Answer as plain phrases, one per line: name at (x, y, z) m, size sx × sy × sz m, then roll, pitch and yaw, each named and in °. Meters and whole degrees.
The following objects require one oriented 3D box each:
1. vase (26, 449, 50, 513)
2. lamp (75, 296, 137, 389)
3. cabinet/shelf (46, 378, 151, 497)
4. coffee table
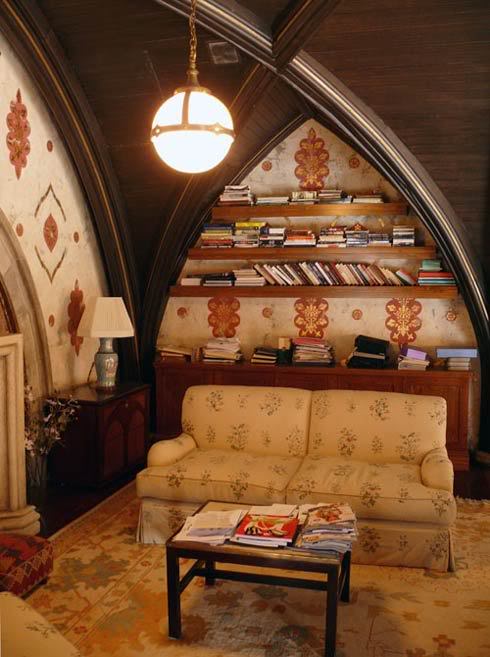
vase at (-1.396, 1.005, 3.692) m, size 0.153 × 0.367 × 0.410 m, roll 1°, pitch -19°, yaw -18°
lamp at (-1.078, 0.101, 4.040) m, size 0.380 × 0.669 × 0.589 m, roll -1°, pitch 2°, yaw -28°
cabinet/shelf at (-0.934, 0.731, 3.929) m, size 0.583 × 0.709 × 0.985 m, roll 2°, pitch 7°, yaw 14°
coffee table at (0.080, 0.939, 2.133) m, size 0.692 × 0.417 × 0.493 m, roll 0°, pitch 2°, yaw 14°
